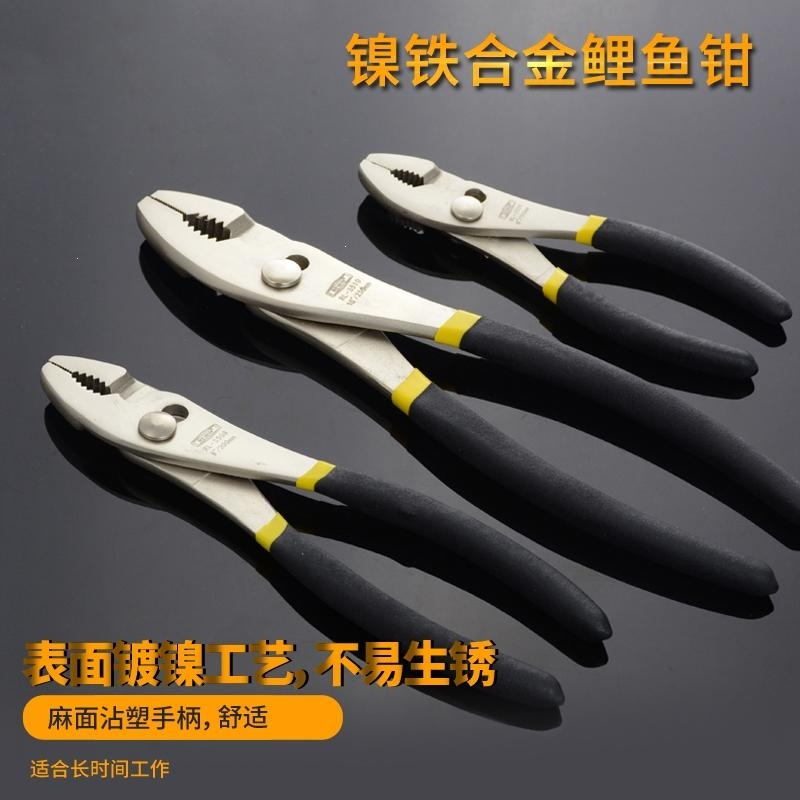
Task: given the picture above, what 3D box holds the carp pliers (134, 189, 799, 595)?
[{"bbox_3d":[-0.116,-0.043,1.243,1.138,0.089,0.282,27,50,19],"label":"carp pliers"}]
